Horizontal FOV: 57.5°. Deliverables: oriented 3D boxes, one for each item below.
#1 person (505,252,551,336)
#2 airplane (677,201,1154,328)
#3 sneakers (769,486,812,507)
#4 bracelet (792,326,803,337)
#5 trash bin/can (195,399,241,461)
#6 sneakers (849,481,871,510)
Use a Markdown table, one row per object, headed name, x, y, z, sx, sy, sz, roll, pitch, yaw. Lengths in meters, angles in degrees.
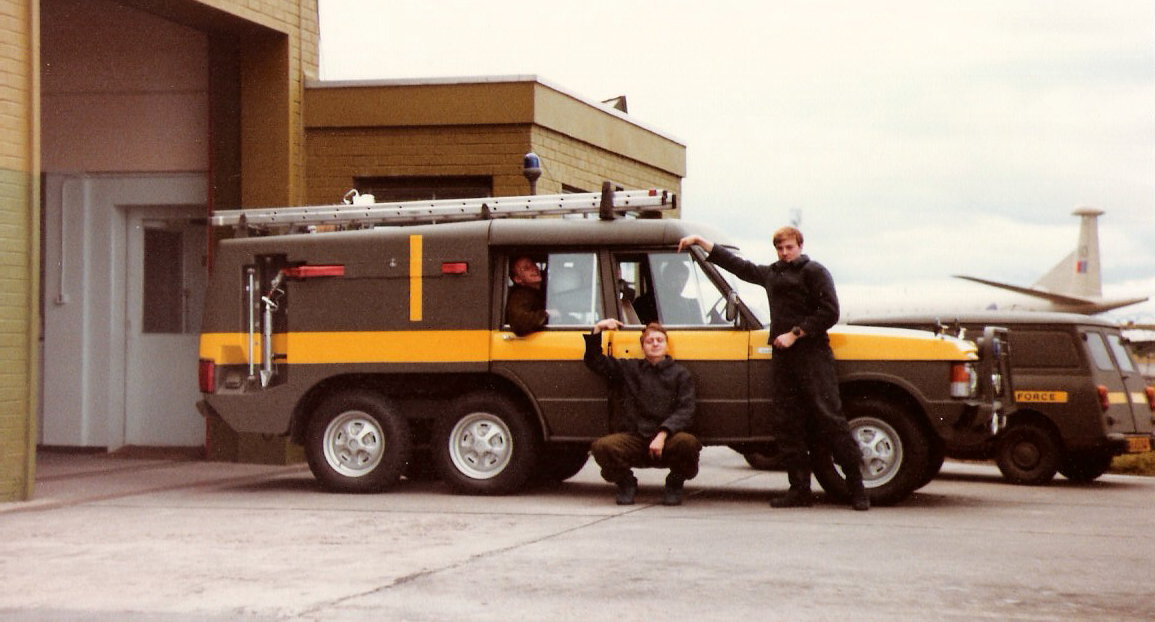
| name | x | y | z | sx | sy | sz | roll | pitch | yaw |
| --- | --- | --- | --- | --- | --- | --- | --- | --- | --- |
| person | -0.734 | -0.212 | 14.970 | 0.628 | 1.139 | 0.282 | -1 | -3 | -4 |
| airplane | 5.778 | -0.309 | 18.786 | 5.718 | 1.713 | 5.459 | 0 | -2 | 10 |
| sneakers | 2.844 | 2.550 | 14.373 | 0.663 | 0.260 | 0.228 | 1 | -3 | -1 |
| bracelet | 2.918 | 0.272 | 13.912 | 0.126 | 0.122 | 0.075 | 33 | -8 | 26 |
| trash bin/can | -6.244 | 2.150 | 18.720 | 0.998 | 1.061 | 0.978 | -2 | -2 | 14 |
| sneakers | 3.752 | 2.456 | 14.023 | 0.270 | 0.397 | 0.222 | -2 | -3 | 13 |
